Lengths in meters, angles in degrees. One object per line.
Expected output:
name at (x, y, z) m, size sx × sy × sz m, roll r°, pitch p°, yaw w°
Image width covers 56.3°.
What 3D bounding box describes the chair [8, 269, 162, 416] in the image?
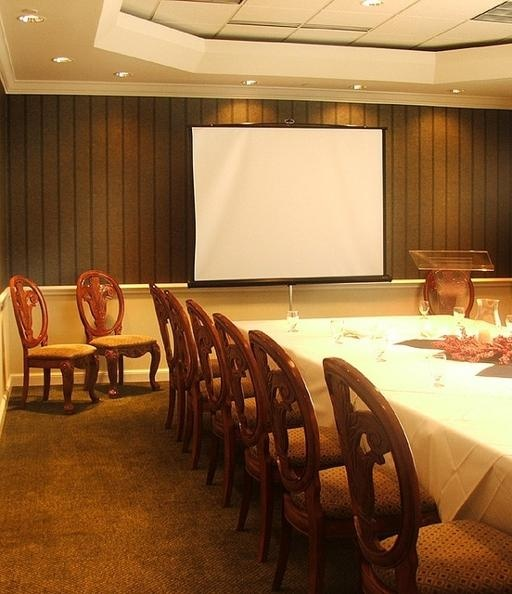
chair at (-1.658, 0.336, 4.457) m, size 1.293 × 1.172 × 1.138 m, roll 1°, pitch 2°, yaw 32°
